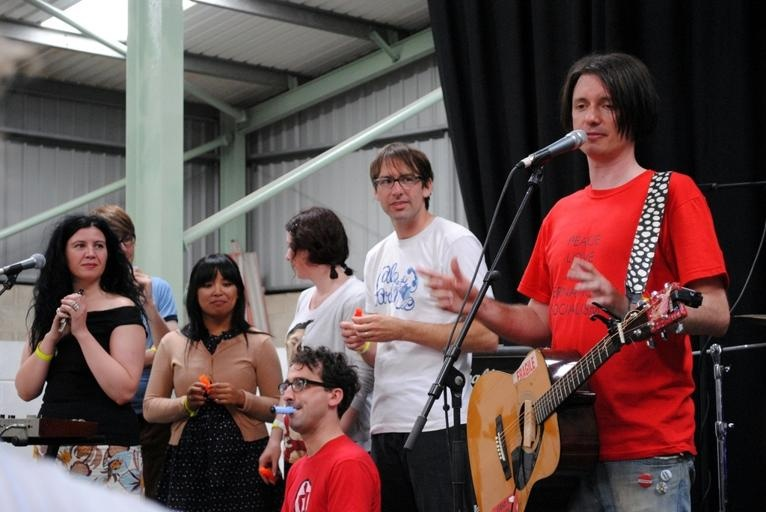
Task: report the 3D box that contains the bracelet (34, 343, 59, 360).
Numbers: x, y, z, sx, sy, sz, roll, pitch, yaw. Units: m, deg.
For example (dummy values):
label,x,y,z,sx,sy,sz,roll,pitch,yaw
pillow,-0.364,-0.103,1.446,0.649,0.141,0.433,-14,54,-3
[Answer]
label,x,y,z,sx,sy,sz,roll,pitch,yaw
bracelet,-1.881,0.537,5.535,0.088,0.056,0.103,30,-3,-40

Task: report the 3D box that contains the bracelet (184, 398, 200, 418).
label,x,y,z,sx,sy,sz,roll,pitch,yaw
bracelet,-1.109,0.881,5.697,0.072,0.103,0.038,-3,4,-11

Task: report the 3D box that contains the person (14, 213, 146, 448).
label,x,y,z,sx,sy,sz,roll,pitch,yaw
person,-1.733,0.421,5.645,0.711,1.361,0.556,-2,-4,-16

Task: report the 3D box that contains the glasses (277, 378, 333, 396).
label,x,y,z,sx,sy,sz,roll,pitch,yaw
glasses,-0.426,0.719,5.422,0.152,0.046,0.149,21,-34,-31
